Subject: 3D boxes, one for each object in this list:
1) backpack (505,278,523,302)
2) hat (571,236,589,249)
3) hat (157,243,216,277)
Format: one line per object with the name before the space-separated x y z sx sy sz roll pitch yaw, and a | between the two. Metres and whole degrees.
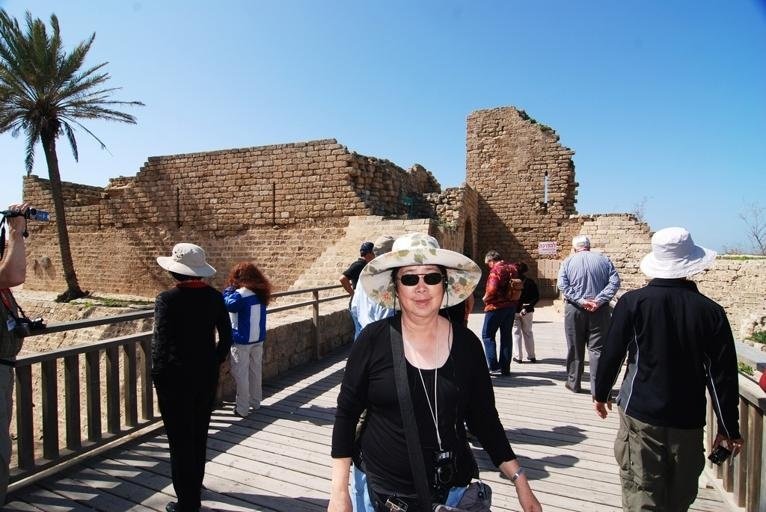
backpack | 1.773 0.457 7.566 0.325 0.350 0.170 1 -2 -40
hat | 2.602 -0.157 7.316 0.157 0.183 0.206 -5 -29 28
hat | -1.940 0.114 5.383 0.427 0.169 0.421 24 22 34
